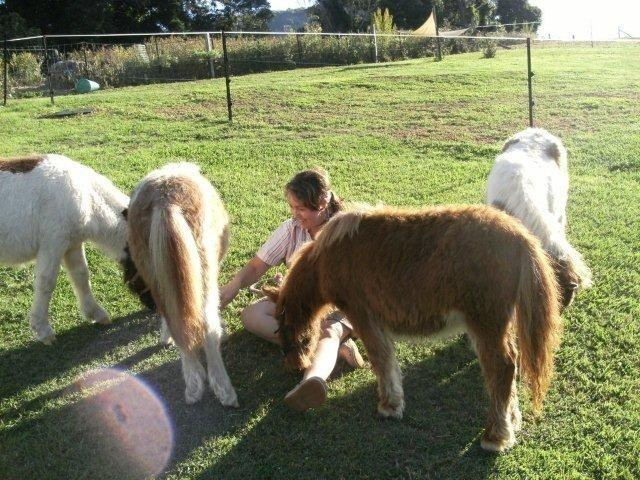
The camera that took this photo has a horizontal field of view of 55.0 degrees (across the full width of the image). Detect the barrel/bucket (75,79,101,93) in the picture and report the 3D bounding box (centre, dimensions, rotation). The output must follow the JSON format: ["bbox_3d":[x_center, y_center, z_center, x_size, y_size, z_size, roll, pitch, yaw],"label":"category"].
[{"bbox_3d":[-6.286,-4.164,16.597,0.535,0.350,0.646,-13,24,-27],"label":"barrel/bucket"}]

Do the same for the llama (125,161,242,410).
[{"bbox_3d":[-1.295,0.220,6.197,0.685,2.218,2.941,-11,10,-7],"label":"llama"}]

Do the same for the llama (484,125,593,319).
[{"bbox_3d":[2.012,-0.446,5.679,0.926,1.898,1.571,8,19,15],"label":"llama"}]
